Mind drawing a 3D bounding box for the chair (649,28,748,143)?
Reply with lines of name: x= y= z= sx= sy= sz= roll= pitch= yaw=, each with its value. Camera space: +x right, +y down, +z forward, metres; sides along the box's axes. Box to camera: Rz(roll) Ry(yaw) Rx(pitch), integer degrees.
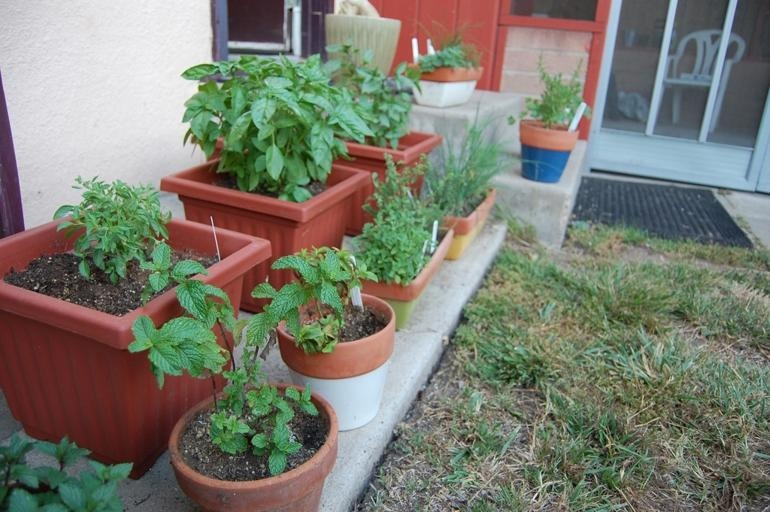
chair: x=3.193 y=-1.820 z=5.736 sx=0.684 sy=0.937 sz=0.725 roll=19 pitch=16 yaw=36
